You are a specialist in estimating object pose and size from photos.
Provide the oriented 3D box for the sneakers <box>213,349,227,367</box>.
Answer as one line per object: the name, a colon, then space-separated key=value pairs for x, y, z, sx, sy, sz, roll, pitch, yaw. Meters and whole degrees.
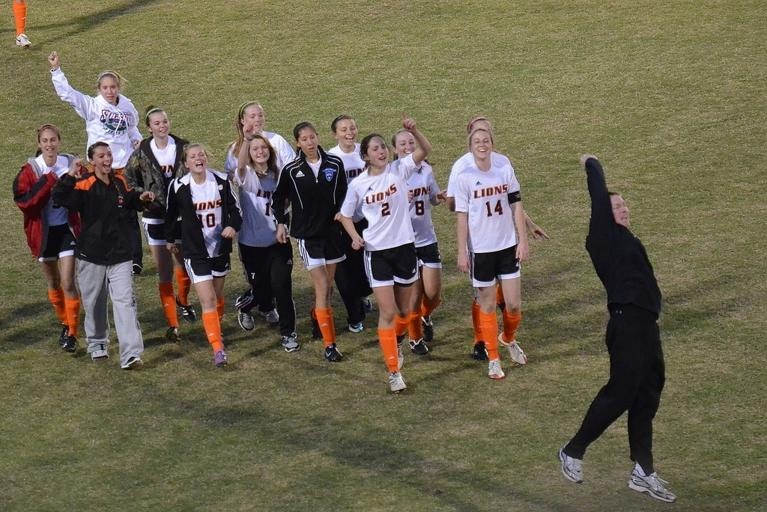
sneakers: x=-2.205 y=1.381 z=13.728 sx=0.259 sy=0.165 sz=0.215 roll=-5 pitch=46 yaw=3

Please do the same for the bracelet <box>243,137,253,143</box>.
bracelet: x=-1.872 y=-1.600 z=13.969 sx=0.090 sy=0.041 sz=0.119 roll=-6 pitch=29 yaw=44

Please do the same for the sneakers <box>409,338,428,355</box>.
sneakers: x=0.467 y=1.259 z=14.035 sx=0.159 sy=0.103 sz=0.286 roll=-12 pitch=19 yaw=-27

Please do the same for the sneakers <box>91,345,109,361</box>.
sneakers: x=-3.885 y=1.329 z=13.882 sx=0.212 sy=0.215 sz=0.247 roll=1 pitch=4 yaw=-5

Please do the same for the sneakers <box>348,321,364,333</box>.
sneakers: x=-0.408 y=1.046 z=14.566 sx=0.117 sy=0.093 sz=0.231 roll=1 pitch=33 yaw=0

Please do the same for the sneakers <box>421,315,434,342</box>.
sneakers: x=0.593 y=1.038 z=14.329 sx=0.147 sy=0.353 sz=0.165 roll=-10 pitch=0 yaw=-11

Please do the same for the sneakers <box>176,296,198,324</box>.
sneakers: x=-2.903 y=0.807 z=15.024 sx=0.211 sy=0.162 sz=0.463 roll=-22 pitch=58 yaw=-37

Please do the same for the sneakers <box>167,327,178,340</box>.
sneakers: x=-2.976 y=1.110 z=14.333 sx=0.135 sy=0.180 sz=0.192 roll=-4 pitch=17 yaw=-4

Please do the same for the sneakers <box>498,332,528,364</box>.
sneakers: x=1.743 y=1.274 z=13.693 sx=0.207 sy=0.543 sz=0.226 roll=-48 pitch=1 yaw=-13

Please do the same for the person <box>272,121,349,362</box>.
person: x=-0.995 y=-0.188 z=13.859 sx=0.823 sy=3.202 sz=1.062 roll=2 pitch=23 yaw=31

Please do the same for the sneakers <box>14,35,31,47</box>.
sneakers: x=-8.055 y=-4.784 z=22.690 sx=0.188 sy=0.191 sz=0.472 roll=-12 pitch=9 yaw=-29

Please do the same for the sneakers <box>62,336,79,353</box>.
sneakers: x=-4.328 y=1.242 z=14.052 sx=0.139 sy=0.123 sz=0.294 roll=11 pitch=9 yaw=-18

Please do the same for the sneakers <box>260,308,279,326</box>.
sneakers: x=-1.664 y=0.900 z=14.796 sx=0.234 sy=0.255 sz=0.163 roll=-25 pitch=-14 yaw=-19

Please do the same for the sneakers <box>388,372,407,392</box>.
sneakers: x=0.164 y=1.631 z=13.237 sx=0.225 sy=0.271 sz=0.307 roll=-9 pitch=18 yaw=-1

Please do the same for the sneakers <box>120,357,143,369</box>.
sneakers: x=-3.403 y=1.471 z=13.678 sx=0.312 sy=0.128 sz=0.141 roll=-23 pitch=-24 yaw=38

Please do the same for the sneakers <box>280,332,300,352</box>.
sneakers: x=-1.320 y=1.226 z=14.232 sx=0.170 sy=0.143 sz=0.354 roll=-2 pitch=3 yaw=-20
